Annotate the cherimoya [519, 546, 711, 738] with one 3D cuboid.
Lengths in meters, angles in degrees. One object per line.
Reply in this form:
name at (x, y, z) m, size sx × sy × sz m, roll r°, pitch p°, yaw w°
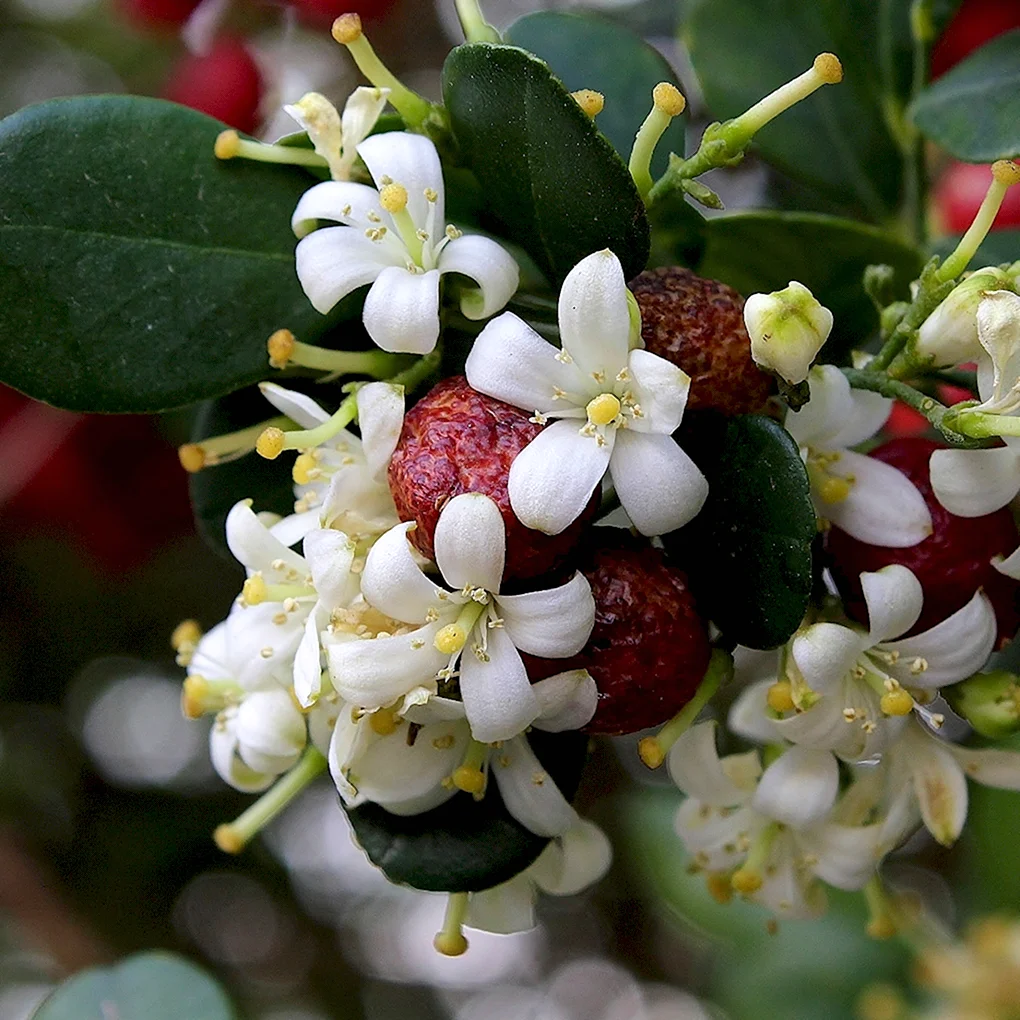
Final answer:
cherimoya at (0.070, 0.084, 0.927) m, size 0.122 × 0.080 × 0.130 m, roll -4°, pitch 57°, yaw -36°
